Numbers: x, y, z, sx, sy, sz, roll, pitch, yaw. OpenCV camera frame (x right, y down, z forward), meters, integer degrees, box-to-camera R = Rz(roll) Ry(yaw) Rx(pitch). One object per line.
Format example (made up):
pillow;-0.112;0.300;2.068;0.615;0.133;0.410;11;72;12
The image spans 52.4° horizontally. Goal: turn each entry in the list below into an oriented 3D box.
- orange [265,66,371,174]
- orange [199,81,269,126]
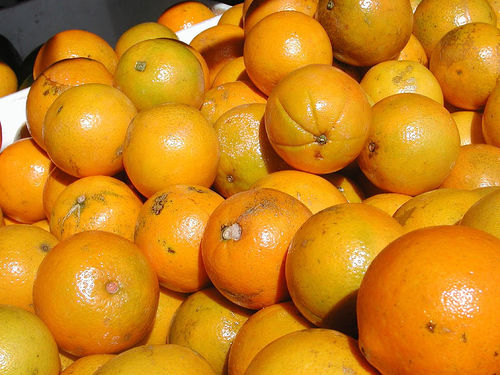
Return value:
orange;0.211;-0.209;1.809;0.319;0.317;0.356;29;105;1
orange;-0.080;-0.366;2.026;0.179;0.127;0.222;-11;35;9
